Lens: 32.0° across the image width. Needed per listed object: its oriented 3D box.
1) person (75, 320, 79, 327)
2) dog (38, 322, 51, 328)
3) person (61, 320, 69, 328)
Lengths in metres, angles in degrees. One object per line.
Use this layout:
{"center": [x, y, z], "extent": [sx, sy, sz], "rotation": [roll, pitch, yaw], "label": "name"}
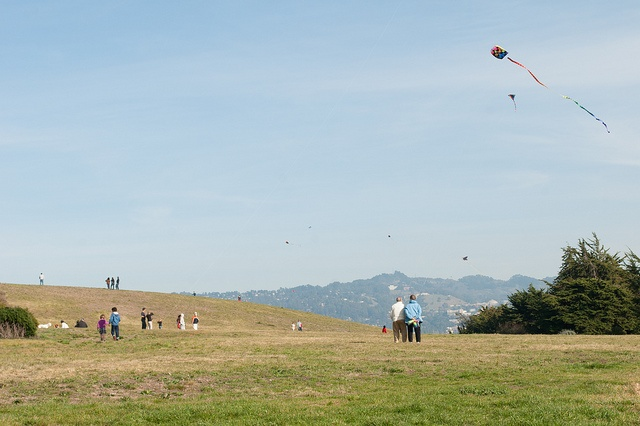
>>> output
{"center": [-24.191, 11.037, 111.147], "extent": [0.417, 0.616, 1.357], "rotation": [1, -3, -16], "label": "person"}
{"center": [-27.020, 11.124, 109.387], "extent": [1.201, 0.551, 0.607], "rotation": [1, 29, -10], "label": "dog"}
{"center": [-25.445, 11.155, 110.835], "extent": [0.813, 0.319, 1.565], "rotation": [8, 4, -18], "label": "person"}
